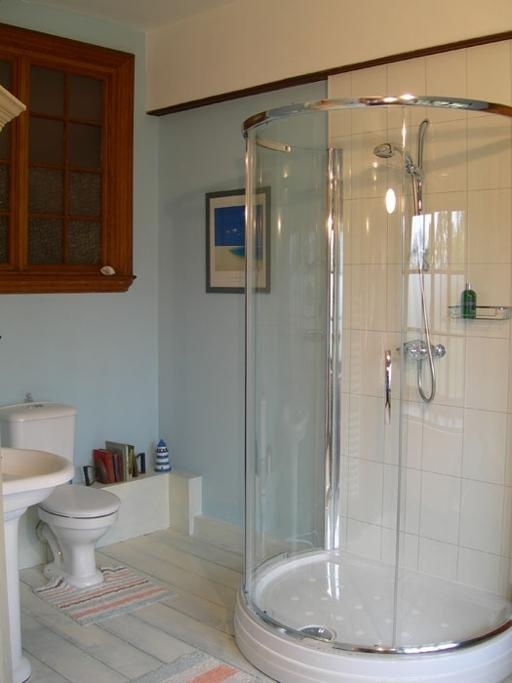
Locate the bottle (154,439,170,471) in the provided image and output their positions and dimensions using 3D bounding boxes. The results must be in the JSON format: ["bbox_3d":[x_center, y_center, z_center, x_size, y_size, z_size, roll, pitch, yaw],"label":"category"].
[{"bbox_3d":[-0.600,0.744,3.698,0.104,0.138,0.202,-1,-1,-10],"label":"bottle"}]

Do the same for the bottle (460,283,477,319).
[{"bbox_3d":[0.687,-0.123,1.842,0.059,0.112,0.013,-1,0,-21],"label":"bottle"}]

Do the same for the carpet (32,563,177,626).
[{"bbox_3d":[-0.727,1.186,2.706,0.518,0.035,0.520,0,-1,-41],"label":"carpet"}]
